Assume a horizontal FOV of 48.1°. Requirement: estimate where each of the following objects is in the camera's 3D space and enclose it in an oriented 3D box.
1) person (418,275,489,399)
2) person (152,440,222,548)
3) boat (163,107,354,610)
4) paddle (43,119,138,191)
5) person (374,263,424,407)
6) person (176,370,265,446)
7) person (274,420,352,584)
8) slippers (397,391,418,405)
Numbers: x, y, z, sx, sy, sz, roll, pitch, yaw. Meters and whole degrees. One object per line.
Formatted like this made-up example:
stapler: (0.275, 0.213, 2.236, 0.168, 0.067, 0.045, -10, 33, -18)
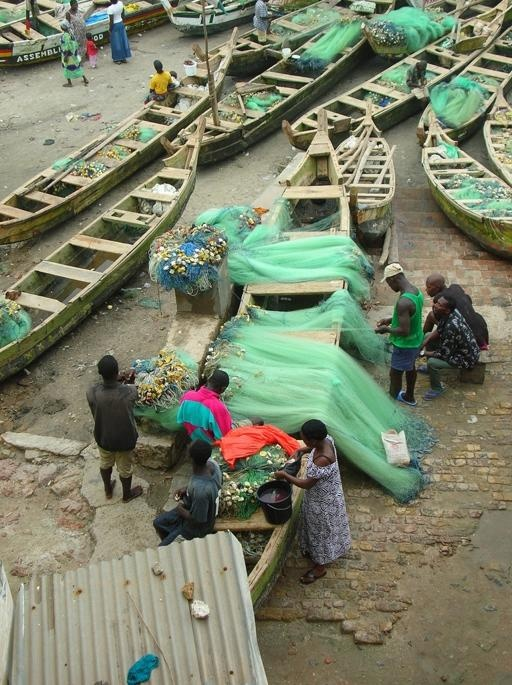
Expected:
person: (2.240, -0.081, 6.452, 0.723, 1.277, 0.834, 5, 29, 17)
person: (-0.557, 1.223, 4.581, 0.616, 1.102, 0.509, 9, 39, 3)
boat: (0.419, -0.421, 7.400, 1.458, 1.374, 7.646, -3, 41, 12)
paddle: (-2.903, -3.556, 11.028, 0.775, 0.514, 2.530, 27, 50, 14)
person: (1.568, -0.050, 6.251, 0.507, 1.517, 0.592, 1, 29, 11)
person: (-0.434, 0.643, 5.249, 0.556, 0.852, 0.473, 21, 39, 14)
person: (0.510, 1.210, 4.492, 0.494, 1.499, 0.369, -10, 29, -10)
slippers: (1.694, 0.634, 6.447, 0.103, 0.074, 0.217, -31, 49, -32)
